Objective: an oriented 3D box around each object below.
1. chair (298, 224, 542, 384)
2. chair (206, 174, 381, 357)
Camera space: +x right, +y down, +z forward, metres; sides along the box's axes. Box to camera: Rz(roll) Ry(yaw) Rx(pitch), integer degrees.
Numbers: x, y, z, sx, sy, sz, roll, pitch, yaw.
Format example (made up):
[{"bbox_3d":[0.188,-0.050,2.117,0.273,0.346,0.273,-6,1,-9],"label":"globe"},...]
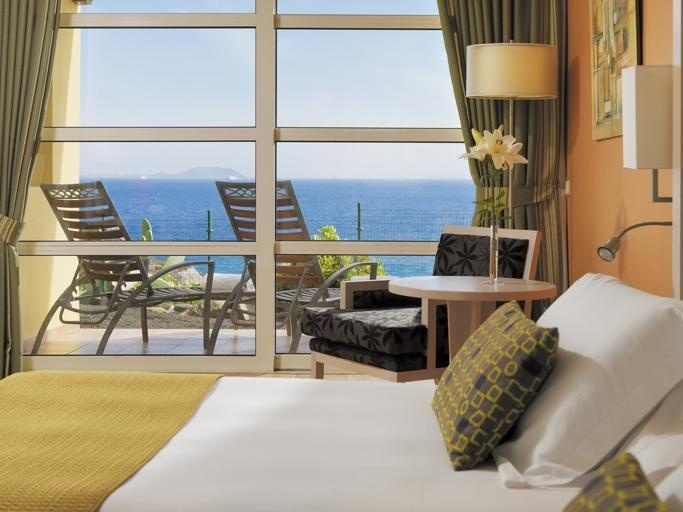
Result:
[{"bbox_3d":[0.335,0.188,3.575,1.054,1.187,0.844,2,-2,-39],"label":"chair"},{"bbox_3d":[-0.159,0.007,4.672,0.954,1.435,1.132,-2,1,30],"label":"chair"}]
